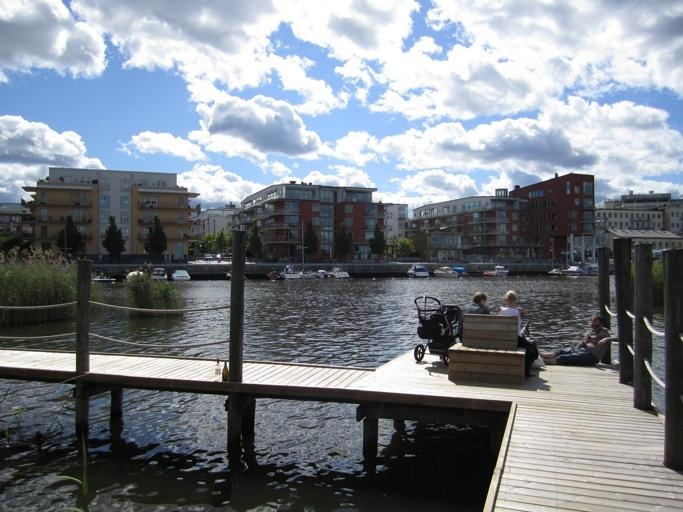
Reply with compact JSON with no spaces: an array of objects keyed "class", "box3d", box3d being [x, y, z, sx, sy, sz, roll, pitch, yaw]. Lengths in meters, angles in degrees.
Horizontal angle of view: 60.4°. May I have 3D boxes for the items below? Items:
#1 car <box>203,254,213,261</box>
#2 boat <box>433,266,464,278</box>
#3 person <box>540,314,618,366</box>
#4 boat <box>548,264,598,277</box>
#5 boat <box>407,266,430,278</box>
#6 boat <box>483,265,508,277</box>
[{"class":"car","box3d":[-22.765,0.187,99.943,1.453,1.023,2.473,0,1,-13]},{"class":"boat","box3d":[14.839,2.211,79.670,3.669,1.189,6.599,2,3,14]},{"class":"person","box3d":[4.672,1.738,11.824,1.517,0.904,0.648,-5,5,11]},{"class":"boat","box3d":[34.462,2.139,86.513,6.005,1.502,1.649,1,-2,-9]},{"class":"boat","box3d":[10.011,1.993,76.593,1.799,1.356,2.587,-1,4,-41]},{"class":"boat","box3d":[22.323,2.285,82.561,4.040,1.547,1.787,-5,7,-32]}]
